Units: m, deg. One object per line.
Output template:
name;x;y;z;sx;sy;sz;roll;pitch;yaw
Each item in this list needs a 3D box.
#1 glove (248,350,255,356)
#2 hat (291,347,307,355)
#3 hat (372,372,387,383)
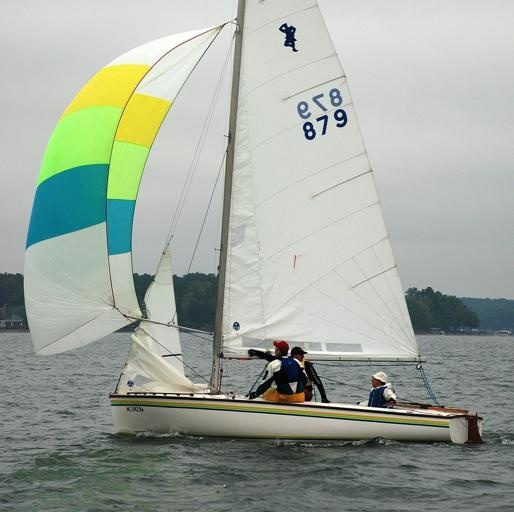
glove;-0.074;1.441;10.034;0.108;0.123;0.115;-6;-2;-1
hat;0.630;1.433;10.299;0.188;0.065;0.123;2;5;9
hat;1.944;1.872;10.527;0.229;0.111;0.171;23;8;12
